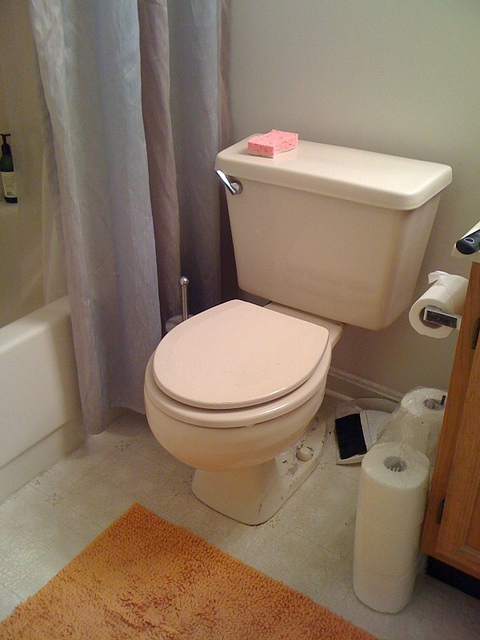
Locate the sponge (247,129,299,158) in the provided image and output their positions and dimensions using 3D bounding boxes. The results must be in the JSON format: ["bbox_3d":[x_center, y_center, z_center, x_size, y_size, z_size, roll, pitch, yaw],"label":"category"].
[{"bbox_3d":[0.079,-0.409,1.138,0.068,0.028,0.096,27,47,32],"label":"sponge"}]

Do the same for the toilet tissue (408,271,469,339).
[{"bbox_3d":[0.289,-0.017,0.744,0.066,0.075,0.115,13,31,24],"label":"toilet tissue"}]

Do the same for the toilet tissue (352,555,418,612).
[{"bbox_3d":[0.255,0.461,0.893,0.110,0.109,0.045,5,27,9],"label":"toilet tissue"}]

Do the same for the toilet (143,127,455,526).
[{"bbox_3d":[0.077,0.052,1.122,0.465,0.725,0.657,19,36,29],"label":"toilet"}]
